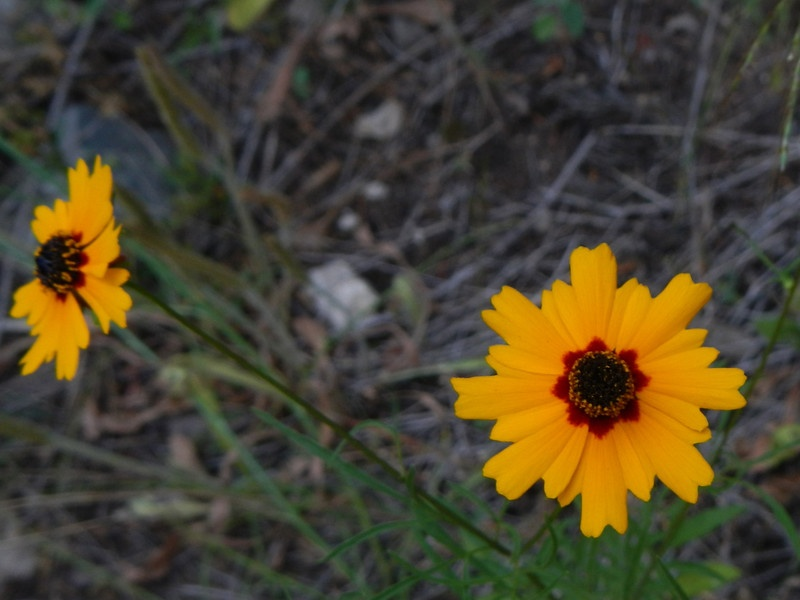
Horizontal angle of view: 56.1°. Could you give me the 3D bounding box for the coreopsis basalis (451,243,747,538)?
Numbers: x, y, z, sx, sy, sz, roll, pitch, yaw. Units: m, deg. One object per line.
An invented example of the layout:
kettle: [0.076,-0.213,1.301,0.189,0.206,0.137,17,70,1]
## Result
coreopsis basalis: [0.384,0.171,1.464,0.499,0.105,0.526,23,86,16]
